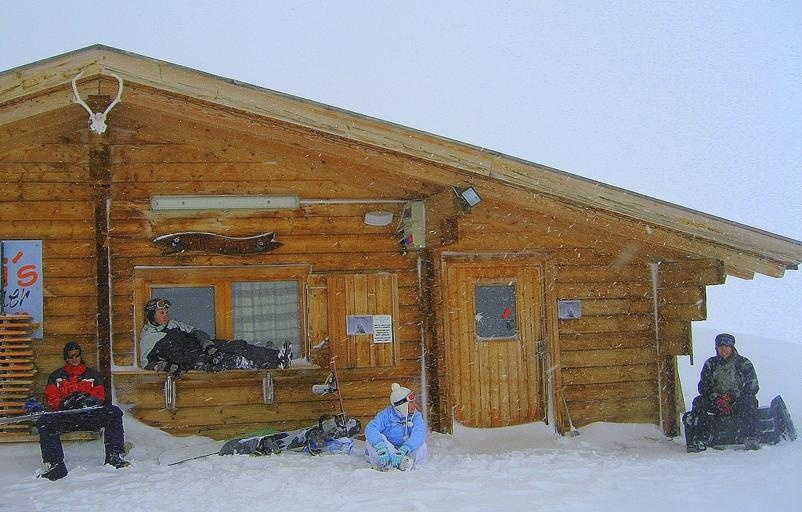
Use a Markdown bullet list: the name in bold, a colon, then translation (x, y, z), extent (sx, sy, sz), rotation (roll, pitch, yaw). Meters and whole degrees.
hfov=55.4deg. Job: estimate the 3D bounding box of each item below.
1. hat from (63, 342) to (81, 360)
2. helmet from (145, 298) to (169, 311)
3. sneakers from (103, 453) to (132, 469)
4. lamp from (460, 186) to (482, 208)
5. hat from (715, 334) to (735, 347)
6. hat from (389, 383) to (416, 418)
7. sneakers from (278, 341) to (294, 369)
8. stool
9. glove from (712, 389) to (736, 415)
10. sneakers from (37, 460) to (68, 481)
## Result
- **hat**: translation (-4.323, 1.281, 10.152), extent (0.209, 0.220, 0.254), rotation (-9, -8, -22)
- **helmet**: translation (-3.393, 0.669, 10.667), extent (0.236, 0.124, 0.179), rotation (-18, 0, 14)
- **sneakers**: translation (-3.665, 2.645, 9.902), extent (0.279, 0.146, 0.268), rotation (-10, 18, -37)
- **lamp**: translation (1.012, -0.852, 10.850), extent (0.342, 0.268, 0.197), rotation (-9, 18, -35)
- **hat**: translation (4.864, 1.263, 11.519), extent (0.285, 0.234, 0.282), rotation (-4, -18, 22)
- **hat**: translation (0.009, 1.947, 10.456), extent (0.480, 0.441, 0.393), rotation (-7, -9, 34)
- **sneakers**: translation (-1.524, 1.382, 10.716), extent (0.236, 0.334, 0.278), rotation (0, 6, 26)
- **stool**: translation (4.912, 2.509, 11.183), extent (1.352, 0.436, 0.743), rotation (-3, -9, 7)
- **glove**: translation (4.690, 2.141, 11.196), extent (0.280, 0.317, 0.127), rotation (-1, 5, -5)
- **sneakers**: translation (-4.395, 2.668, 9.596), extent (0.414, 0.188, 0.243), rotation (6, 15, 21)
